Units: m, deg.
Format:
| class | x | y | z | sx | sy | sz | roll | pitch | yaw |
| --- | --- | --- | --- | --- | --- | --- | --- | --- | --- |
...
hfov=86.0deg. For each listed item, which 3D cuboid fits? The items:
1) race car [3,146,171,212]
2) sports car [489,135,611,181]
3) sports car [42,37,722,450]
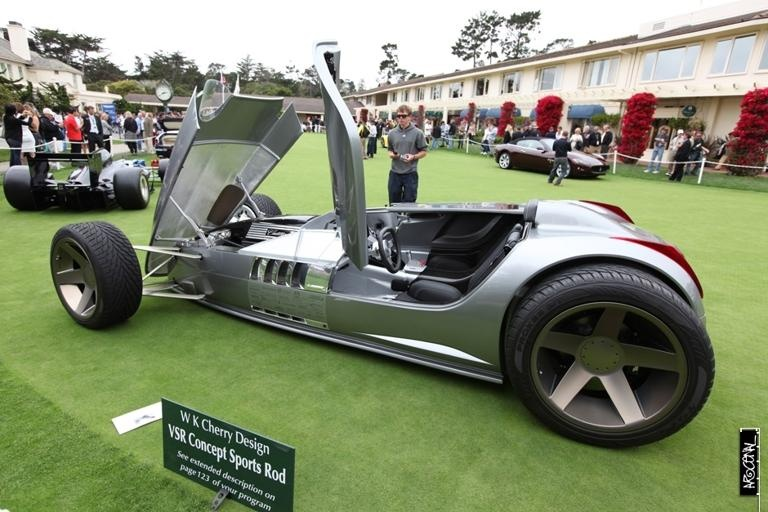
| class | x | y | z | sx | sy | sz | roll | pitch | yaw |
| --- | --- | --- | --- | --- | --- | --- | --- | --- | --- |
| race car | -5.333 | -1.245 | 7.120 | 2.653 | 1.214 | 1.101 | -7 | 17 | -40 |
| sports car | 5.602 | -3.562 | 14.310 | 3.578 | 1.160 | 1.955 | 21 | 29 | 39 |
| sports car | -0.229 | -0.459 | 3.986 | 5.303 | 2.592 | 2.712 | 7 | 18 | 10 |
